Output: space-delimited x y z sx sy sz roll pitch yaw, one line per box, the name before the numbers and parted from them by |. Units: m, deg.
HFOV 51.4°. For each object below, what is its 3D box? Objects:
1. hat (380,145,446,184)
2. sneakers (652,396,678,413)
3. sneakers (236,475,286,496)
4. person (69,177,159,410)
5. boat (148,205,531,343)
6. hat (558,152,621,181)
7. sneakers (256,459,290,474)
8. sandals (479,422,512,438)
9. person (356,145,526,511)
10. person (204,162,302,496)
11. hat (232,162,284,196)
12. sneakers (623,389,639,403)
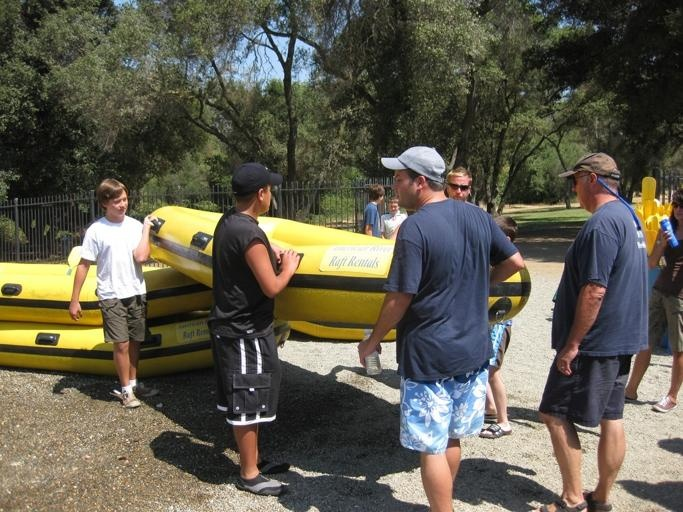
hat | 0.631 -0.790 5.991 0.418 0.252 0.291 11 12 5
sneakers | 3.550 1.613 7.753 0.310 0.138 0.118 -17 -6 -30
sneakers | -0.726 2.104 6.504 0.333 0.146 0.200 5 -1 3
person | -2.487 0.618 7.829 0.837 2.028 0.544 -2 7 -18
boat | -0.159 0.233 6.887 2.116 0.448 1.172 23 10 30
hat | 2.249 -0.758 6.330 0.390 0.224 0.267 1 4 19
sneakers | -0.657 2.004 6.828 0.302 0.133 0.121 -3 3 0
sandals | 1.587 1.798 7.330 0.286 0.107 0.145 0 -1 -29
person | 0.777 0.579 5.918 1.177 2.927 0.675 1 7 3
person | -0.826 0.668 6.526 0.758 2.987 0.536 -1 7 -12
hat | -0.788 -0.695 6.600 0.389 0.223 0.263 -30 37 -23
sneakers | 3.221 1.558 7.903 0.105 0.143 0.321 -4 -8 31
